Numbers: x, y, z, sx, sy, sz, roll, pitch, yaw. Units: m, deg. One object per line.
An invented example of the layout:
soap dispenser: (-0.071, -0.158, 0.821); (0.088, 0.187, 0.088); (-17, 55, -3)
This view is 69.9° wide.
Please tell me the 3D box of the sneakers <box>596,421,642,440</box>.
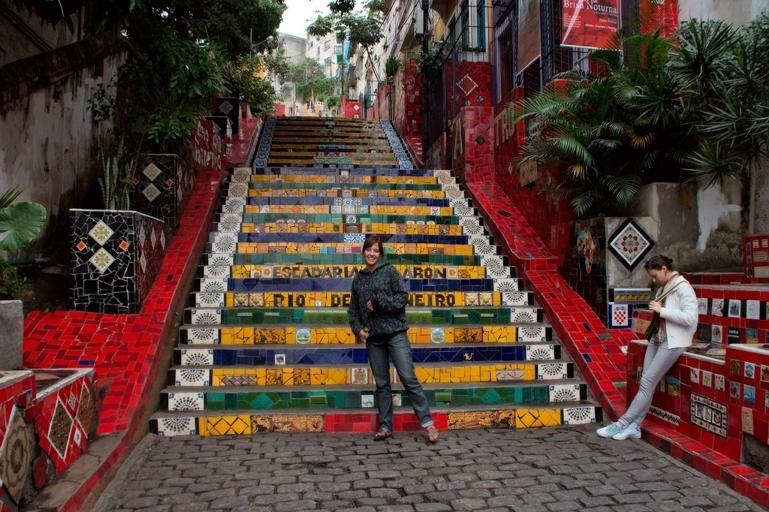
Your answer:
sneakers: (2.511, 1.848, 5.978); (0.440, 0.215, 0.175); (3, -2, 2)

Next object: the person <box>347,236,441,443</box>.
person: (0.059, 1.008, 5.940); (0.863, 1.860, 0.560); (-1, 8, -5)

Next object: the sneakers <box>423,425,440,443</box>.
sneakers: (0.507, 1.903, 5.921); (0.105, 0.101, 0.234); (-16, -18, -11)

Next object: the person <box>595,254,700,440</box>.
person: (2.819, 0.966, 5.840); (0.777, 1.946, 0.439); (3, 8, 21)

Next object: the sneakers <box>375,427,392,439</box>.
sneakers: (-0.011, 1.909, 5.954); (0.182, 0.085, 0.078); (9, -13, -40)
